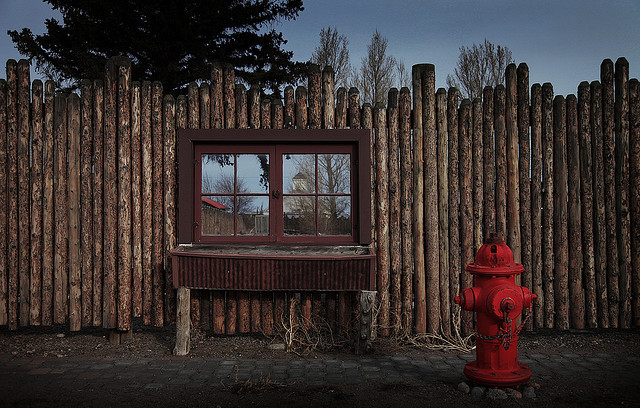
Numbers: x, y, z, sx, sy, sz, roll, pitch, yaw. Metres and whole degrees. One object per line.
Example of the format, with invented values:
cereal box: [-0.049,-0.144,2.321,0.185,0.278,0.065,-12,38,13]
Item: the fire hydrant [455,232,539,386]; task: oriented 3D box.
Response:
fire hydrant: [2.783,1.708,11.708,1.239,2.379,1.168,-1,0,-9]
